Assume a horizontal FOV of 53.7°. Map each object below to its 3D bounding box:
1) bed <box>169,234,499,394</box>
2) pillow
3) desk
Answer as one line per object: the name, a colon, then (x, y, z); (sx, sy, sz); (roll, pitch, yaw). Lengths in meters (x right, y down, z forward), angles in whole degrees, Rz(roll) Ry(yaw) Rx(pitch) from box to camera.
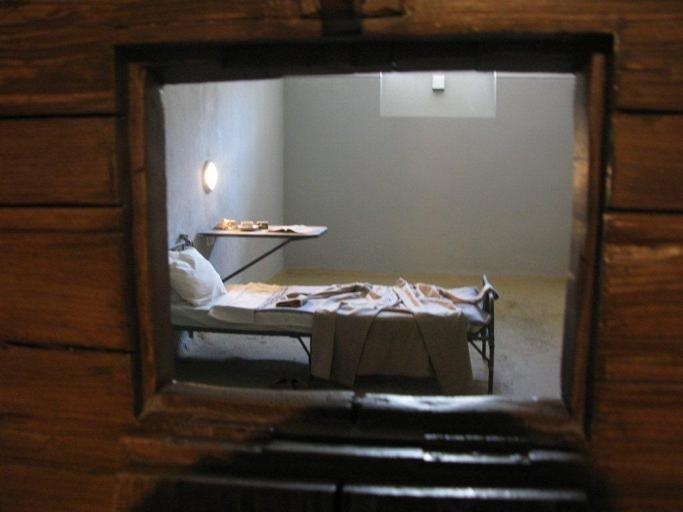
bed: (0.023, 0.335, 3.905); (1.532, 0.966, 0.645); (0, -77, 5)
pillow: (-0.796, 0.182, 3.829); (0.343, 0.086, 0.325); (-19, -68, -8)
desk: (-0.575, -0.016, 4.554); (0.594, 0.521, 0.300); (1, -83, 3)
